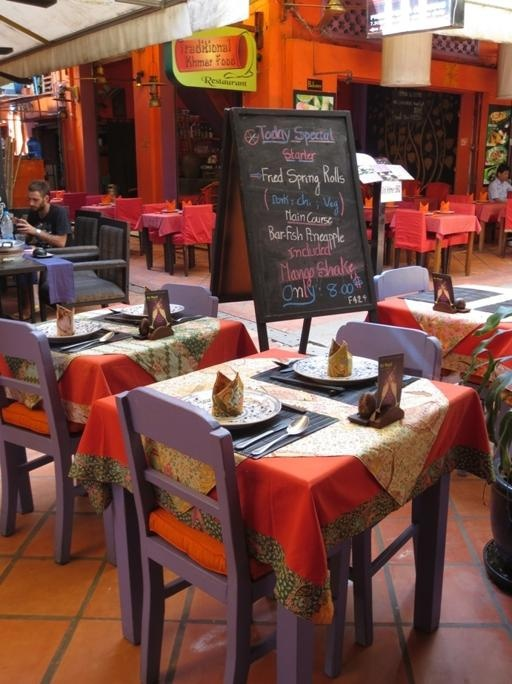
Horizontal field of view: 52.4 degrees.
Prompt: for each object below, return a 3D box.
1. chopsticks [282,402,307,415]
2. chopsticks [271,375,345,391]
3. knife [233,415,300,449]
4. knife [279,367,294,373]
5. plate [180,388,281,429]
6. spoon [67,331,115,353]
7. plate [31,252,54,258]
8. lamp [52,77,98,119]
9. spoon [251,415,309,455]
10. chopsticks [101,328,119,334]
[{"bbox_3d":[0.090,0.153,1.203,0.027,0.007,0.028,17,19,32],"label":"chopsticks"},{"bbox_3d":[0.142,0.111,1.383,0.131,0.009,0.015,12,13,31],"label":"chopsticks"},{"bbox_3d":[0.006,0.166,1.044,0.042,0.008,0.161,6,16,32],"label":"knife"},{"bbox_3d":[0.088,0.083,1.513,0.040,0.005,0.054,-3,14,0],"label":"knife"},{"bbox_3d":[-0.016,0.156,1.164,0.122,0.020,0.118,-12,27,-36],"label":"plate"},{"bbox_3d":[-0.617,0.005,1.966,0.046,0.032,0.200,-6,17,34],"label":"spoon"},{"bbox_3d":[-1.770,-0.721,4.294,0.104,0.030,0.090,9,13,38],"label":"plate"},{"bbox_3d":[-4.558,-6.026,12.938,0.769,0.934,2.562,-6,33,-18],"label":"lamp"},{"bbox_3d":[0.058,0.186,1.034,0.040,0.034,0.210,0,17,29],"label":"spoon"},{"bbox_3d":[-0.598,-0.042,2.136,0.092,0.009,0.016,2,40,36],"label":"chopsticks"}]
